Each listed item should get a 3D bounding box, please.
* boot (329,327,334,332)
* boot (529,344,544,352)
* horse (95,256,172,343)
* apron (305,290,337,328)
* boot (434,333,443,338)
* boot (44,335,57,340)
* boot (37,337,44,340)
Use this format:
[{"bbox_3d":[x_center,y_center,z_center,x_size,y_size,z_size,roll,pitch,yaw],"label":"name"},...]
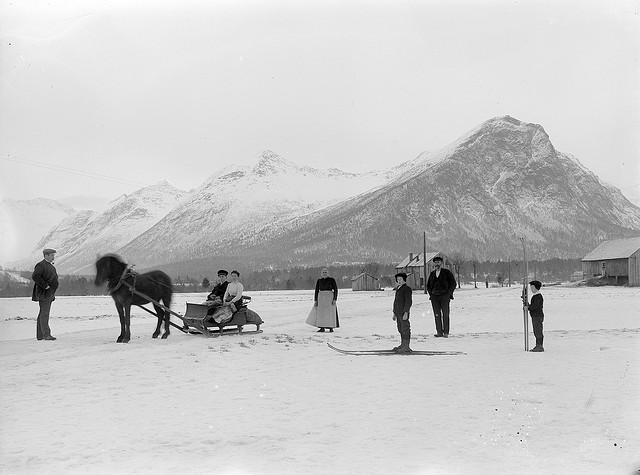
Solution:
[{"bbox_3d":[0.443,3.602,27.915,0.133,0.229,0.127,-1,-8,15],"label":"boot"},{"bbox_3d":[6.422,3.263,21.162,0.393,0.192,0.515,-2,-2,16],"label":"boot"},{"bbox_3d":[-6.486,2.141,25.179,0.956,2.963,3.706,-9,-10,32],"label":"horse"},{"bbox_3d":[0.161,2.709,27.226,1.035,1.486,1.711,-1,-2,-18],"label":"apron"},{"bbox_3d":[4.193,3.486,25.491,0.201,0.115,0.456,-1,-2,-11],"label":"boot"},{"bbox_3d":[-9.518,3.537,25.177,0.466,0.202,0.143,2,-6,-8],"label":"boot"},{"bbox_3d":[-9.864,3.561,25.243,0.201,0.065,0.055,-1,-2,-9],"label":"boot"}]
